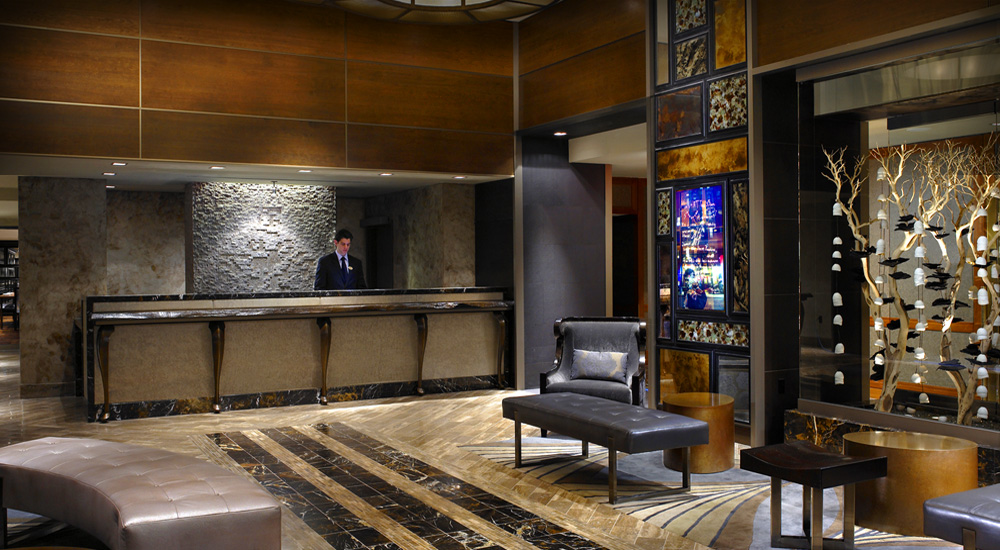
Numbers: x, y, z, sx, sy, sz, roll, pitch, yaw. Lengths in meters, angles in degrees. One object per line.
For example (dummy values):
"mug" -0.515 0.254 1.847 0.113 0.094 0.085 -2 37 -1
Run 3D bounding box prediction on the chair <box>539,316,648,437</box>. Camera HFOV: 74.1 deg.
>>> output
"chair" 1.163 1.240 8.031 1.637 1.407 0.863 -1 -11 19

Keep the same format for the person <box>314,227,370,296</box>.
"person" -2.747 -0.261 11.164 0.841 0.949 0.558 -1 9 -6

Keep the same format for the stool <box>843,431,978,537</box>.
"stool" 3.985 2.099 6.479 0.768 0.797 1.279 7 -14 5

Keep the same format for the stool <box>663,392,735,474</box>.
"stool" 2.163 1.834 7.631 0.908 0.711 0.812 5 -6 -41
